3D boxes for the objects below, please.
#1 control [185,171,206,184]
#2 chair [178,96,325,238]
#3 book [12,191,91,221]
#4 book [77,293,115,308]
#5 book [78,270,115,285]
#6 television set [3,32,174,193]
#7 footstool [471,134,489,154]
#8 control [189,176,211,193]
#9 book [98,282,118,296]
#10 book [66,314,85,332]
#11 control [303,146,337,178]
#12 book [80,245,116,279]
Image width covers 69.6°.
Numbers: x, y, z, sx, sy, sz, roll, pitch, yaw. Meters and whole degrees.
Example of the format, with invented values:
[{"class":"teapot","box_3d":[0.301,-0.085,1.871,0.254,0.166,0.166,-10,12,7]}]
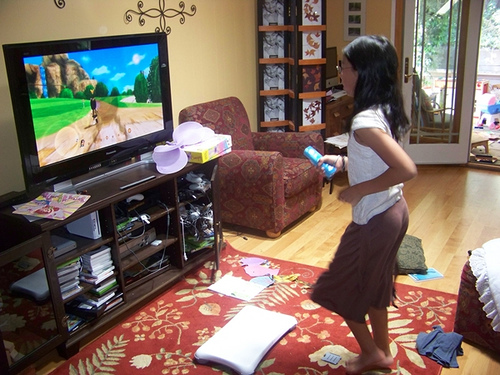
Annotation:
[{"class":"control","box_3d":[-0.446,-0.081,3.043,0.185,0.078,0.066,8,34,34]},{"class":"chair","box_3d":[0.068,-0.278,3.959,1.304,1.278,1.303,-18,24,-40]},{"class":"book","box_3d":[-1.184,0.112,2.180,0.350,0.086,0.289,1,20,15]},{"class":"book","box_3d":[-1.032,0.750,2.398,0.116,0.029,0.115,12,23,26]},{"class":"book","box_3d":[-1.017,0.591,2.370,0.108,0.027,0.103,13,21,32]},{"class":"television set","box_3d":[-1.021,-0.584,2.505,0.059,0.919,1.197,8,22,34]},{"class":"footstool","box_3d":[3.488,-0.695,5.522,0.281,0.265,0.288,6,19,33]},{"class":"control","box_3d":[-0.396,-0.022,3.017,0.075,0.100,0.229,14,22,25]},{"class":"book","box_3d":[-0.959,0.682,2.425,0.105,0.026,0.107,-10,11,33]},{"class":"book","box_3d":[-1.127,0.862,2.309,0.073,0.020,0.081,20,29,20]},{"class":"control","box_3d":[0.410,-0.155,2.059,0.120,0.134,0.247,-14,21,-28]},{"class":"book","box_3d":[-0.990,0.490,2.387,0.151,0.075,0.202,14,28,40]}]
